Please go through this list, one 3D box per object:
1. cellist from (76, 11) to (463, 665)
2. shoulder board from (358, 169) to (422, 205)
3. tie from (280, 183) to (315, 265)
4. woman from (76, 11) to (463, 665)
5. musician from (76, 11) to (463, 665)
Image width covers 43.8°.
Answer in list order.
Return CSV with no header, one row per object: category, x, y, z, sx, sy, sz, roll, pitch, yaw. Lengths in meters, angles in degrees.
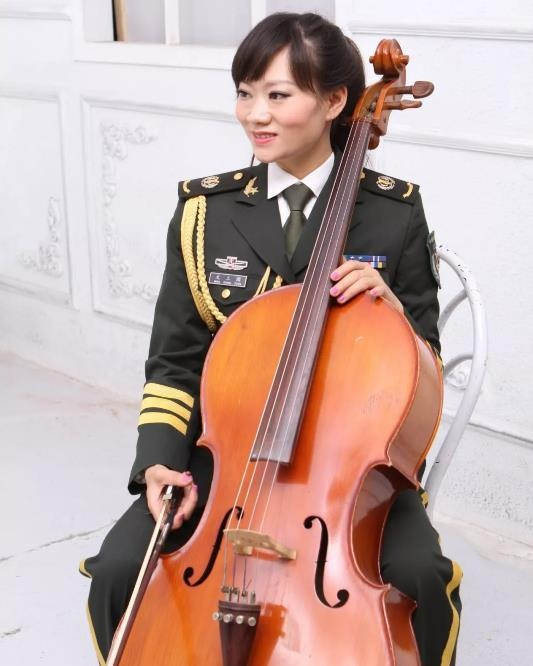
cellist,0.080,-0.140,1.229,0.555,1.267,0.415,2,-21,29
shoulder board,0.228,-0.272,1.262,0.109,0.063,0.027,16,-33,0
tie,0.056,-0.198,1.193,0.063,0.132,0.034,5,-15,13
woman,0.092,-0.139,1.229,0.555,1.267,0.415,2,-21,29
musician,0.076,-0.140,1.229,0.555,1.267,0.415,2,-21,29
